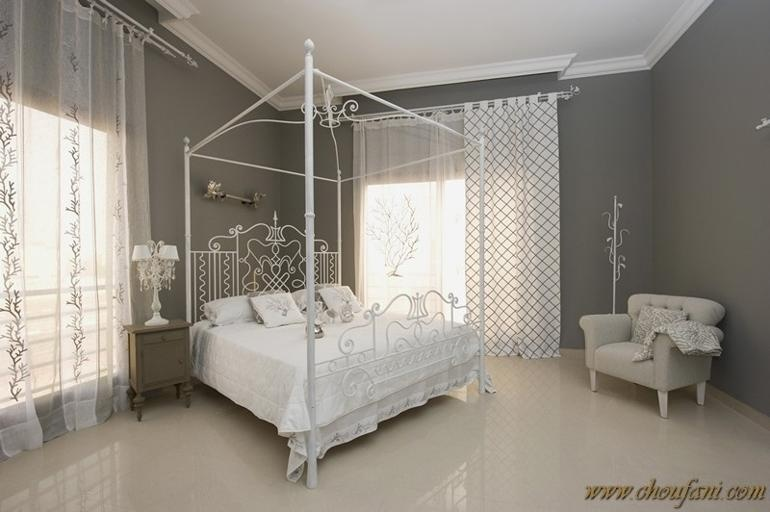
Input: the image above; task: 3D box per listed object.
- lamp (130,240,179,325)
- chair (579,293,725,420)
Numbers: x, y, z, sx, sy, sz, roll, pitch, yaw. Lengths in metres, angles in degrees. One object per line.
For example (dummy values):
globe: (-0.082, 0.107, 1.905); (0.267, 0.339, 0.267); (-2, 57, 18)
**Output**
lamp: (-2.416, 0.266, 5.376); (0.439, 0.863, 0.571); (-4, 4, -27)
chair: (2.856, 0.966, 5.432); (1.036, 1.092, 1.303); (-1, 2, -15)
